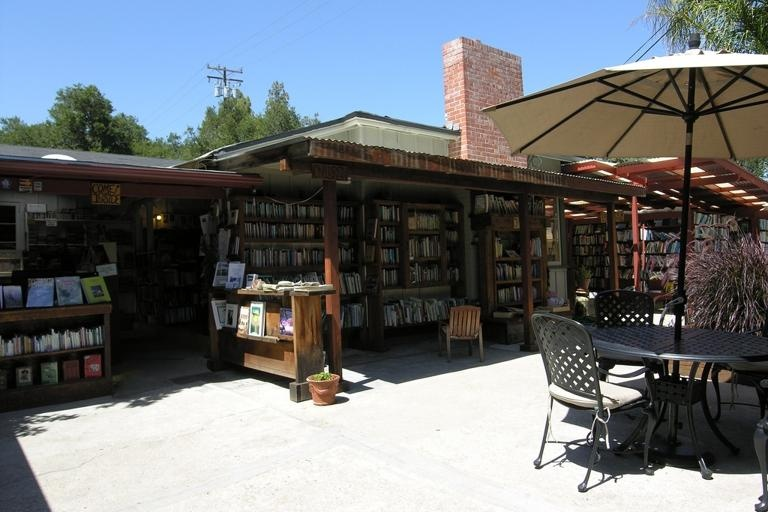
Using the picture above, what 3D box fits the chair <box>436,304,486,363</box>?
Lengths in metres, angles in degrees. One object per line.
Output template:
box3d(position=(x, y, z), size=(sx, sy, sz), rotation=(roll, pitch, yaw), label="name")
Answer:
box3d(position=(1.276, 1.283, 9.236), size=(0.845, 1.225, 0.911), rotation=(0, -1, -6), label="chair")

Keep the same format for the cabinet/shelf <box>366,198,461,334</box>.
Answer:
box3d(position=(0.490, 0.165, 10.431), size=(2.892, 3.141, 0.743), rotation=(1, -4, -39), label="cabinet/shelf")

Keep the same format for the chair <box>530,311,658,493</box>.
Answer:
box3d(position=(2.011, 1.367, 5.357), size=(1.050, 1.599, 1.009), rotation=(1, 12, 17), label="chair")

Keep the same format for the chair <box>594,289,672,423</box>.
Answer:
box3d(position=(2.856, 0.941, 6.297), size=(0.744, 1.054, 0.806), rotation=(-1, -3, 37), label="chair")

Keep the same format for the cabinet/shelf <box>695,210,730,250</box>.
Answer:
box3d(position=(9.249, -0.852, 15.050), size=(0.822, 0.643, 0.755), rotation=(-2, -6, 15), label="cabinet/shelf")

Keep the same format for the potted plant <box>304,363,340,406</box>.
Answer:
box3d(position=(-0.799, 1.723, 7.175), size=(0.407, 0.385, 0.417), rotation=(-19, -30, 34), label="potted plant")
